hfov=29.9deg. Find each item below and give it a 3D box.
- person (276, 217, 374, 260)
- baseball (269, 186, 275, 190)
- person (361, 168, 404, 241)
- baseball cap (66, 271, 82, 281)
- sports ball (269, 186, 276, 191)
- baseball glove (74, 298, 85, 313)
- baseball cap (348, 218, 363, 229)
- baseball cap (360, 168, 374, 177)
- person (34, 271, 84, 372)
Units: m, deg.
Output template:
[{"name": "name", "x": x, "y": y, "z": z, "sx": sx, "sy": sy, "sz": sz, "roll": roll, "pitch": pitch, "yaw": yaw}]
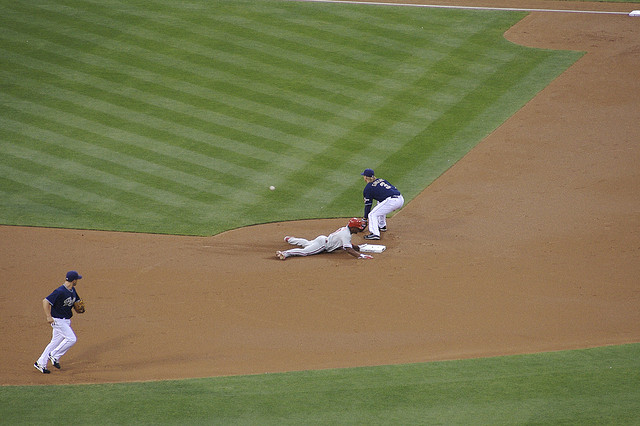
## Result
[{"name": "person", "x": 0.278, "y": 0.787, "z": 36.367, "sx": 3.186, "sy": 0.926, "sz": 1.597, "roll": -7, "pitch": 15, "yaw": 29}, {"name": "baseball", "x": -1.609, "y": -0.782, "z": 39.279, "sx": 0.169, "sy": 0.120, "sz": 0.154, "roll": -5, "pitch": -4, "yaw": -2}, {"name": "person", "x": 1.788, "y": -0.234, "z": 36.864, "sx": 1.199, "sy": 2.291, "sz": 1.566, "roll": -8, "pitch": -5, "yaw": 18}, {"name": "baseball cap", "x": -6.819, "y": 1.774, "z": 32.981, "sx": 0.406, "sy": 0.184, "sz": 0.245, "roll": -16, "pitch": 45, "yaw": -35}, {"name": "sports ball", "x": -1.584, "y": -0.760, "z": 39.280, "sx": 0.209, "sy": 0.157, "sz": 0.158, "roll": -5, "pitch": -4, "yaw": -5}, {"name": "baseball glove", "x": -6.771, "y": 2.647, "z": 33.309, "sx": 0.328, "sy": 0.326, "sz": 0.154, "roll": -11, "pitch": 20, "yaw": -27}, {"name": "baseball cap", "x": 1.052, "y": 0.376, "z": 35.992, "sx": 0.421, "sy": 0.331, "sz": 0.282, "roll": -7, "pitch": -4, "yaw": 27}, {"name": "baseball cap", "x": 1.479, "y": -1.205, "z": 37.258, "sx": 0.353, "sy": 0.259, "sz": 0.497, "roll": -5, "pitch": -4, "yaw": 0}, {"name": "person", "x": -7.219, "y": 3.060, "z": 33.035, "sx": 1.383, "sy": 2.746, "sz": 0.641, "roll": -8, "pitch": -5, "yaw": 13}]
